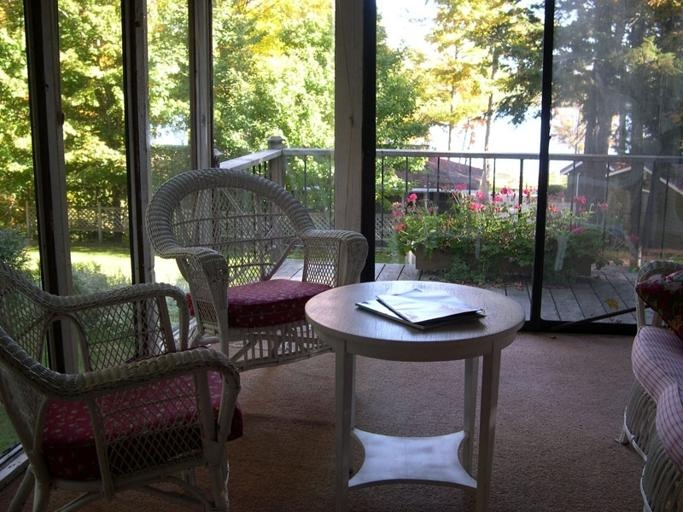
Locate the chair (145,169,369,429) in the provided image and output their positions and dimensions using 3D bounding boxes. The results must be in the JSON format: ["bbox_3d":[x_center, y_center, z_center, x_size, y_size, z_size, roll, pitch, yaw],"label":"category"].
[{"bbox_3d":[-0.382,0.117,3.018,1.051,1.282,0.962,-7,10,-40],"label":"chair"}]

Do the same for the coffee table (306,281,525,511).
[{"bbox_3d":[0.228,0.453,2.087,0.771,0.713,0.726,-2,12,-10],"label":"coffee table"}]
